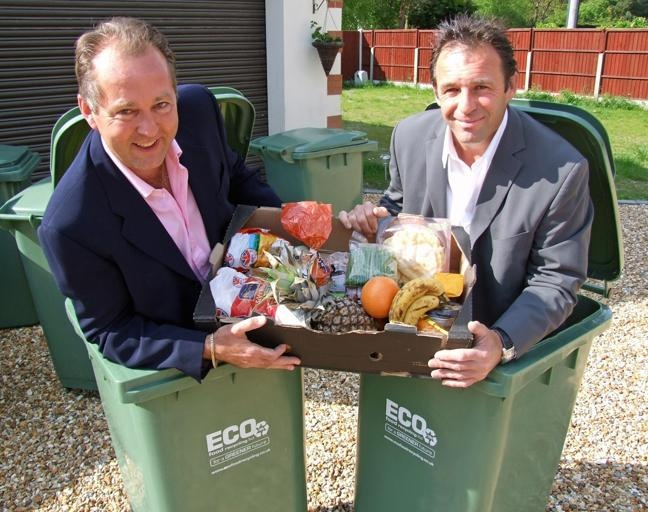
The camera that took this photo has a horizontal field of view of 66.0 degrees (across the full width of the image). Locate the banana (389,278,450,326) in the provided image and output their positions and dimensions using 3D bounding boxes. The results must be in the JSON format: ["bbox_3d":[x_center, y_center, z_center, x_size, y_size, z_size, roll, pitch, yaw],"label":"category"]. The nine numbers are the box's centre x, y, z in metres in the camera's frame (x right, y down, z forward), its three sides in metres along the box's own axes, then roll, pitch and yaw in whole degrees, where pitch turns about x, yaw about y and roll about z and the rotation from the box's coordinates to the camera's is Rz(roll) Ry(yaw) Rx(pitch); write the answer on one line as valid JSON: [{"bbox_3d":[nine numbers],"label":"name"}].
[{"bbox_3d":[0.373,0.183,2.008,0.208,0.173,0.067,-46,25,-25],"label":"banana"}]
